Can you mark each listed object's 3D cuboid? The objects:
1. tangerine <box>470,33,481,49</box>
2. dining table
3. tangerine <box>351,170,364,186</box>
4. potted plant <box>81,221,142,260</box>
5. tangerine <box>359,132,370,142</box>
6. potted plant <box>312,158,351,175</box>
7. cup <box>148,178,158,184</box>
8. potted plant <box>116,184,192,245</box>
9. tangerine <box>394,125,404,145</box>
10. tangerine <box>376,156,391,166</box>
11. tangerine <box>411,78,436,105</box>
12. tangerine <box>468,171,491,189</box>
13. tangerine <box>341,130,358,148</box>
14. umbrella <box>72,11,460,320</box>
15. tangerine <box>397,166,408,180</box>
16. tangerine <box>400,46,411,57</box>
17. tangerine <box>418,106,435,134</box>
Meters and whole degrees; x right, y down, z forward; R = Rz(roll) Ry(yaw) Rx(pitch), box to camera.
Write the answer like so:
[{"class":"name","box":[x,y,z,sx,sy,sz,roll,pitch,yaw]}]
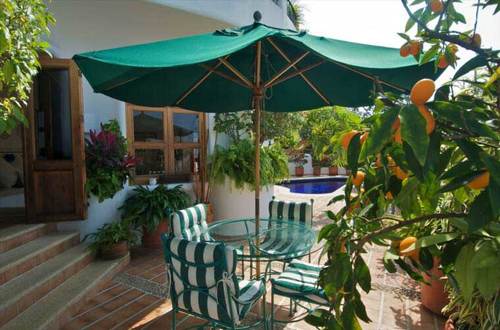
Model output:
[{"class":"tangerine","box":[1.056,-0.585,1.684,0.047,0.074,0.075,2,3,39]},{"class":"dining table","box":[0.084,0.816,3.691,0.818,0.531,0.762,-15,-22,21]},{"class":"tangerine","box":[0.504,0.062,1.696,0.051,0.064,0.050,18,21,39]},{"class":"potted plant","box":[-1.916,1.018,4.865,0.515,0.360,0.507,3,-1,-6]},{"class":"tangerine","box":[0.511,-0.121,1.599,0.026,0.049,0.039,3,-3,31]},{"class":"potted plant","box":[2.497,0.068,11.691,1.146,0.452,0.733,1,-2,9]},{"class":"cup","box":[-1.609,0.251,5.942,0.112,0.084,0.114,2,6,0]},{"class":"potted plant","box":[-1.412,0.838,5.728,1.066,0.925,1.129,9,-7,-43]},{"class":"tangerine","box":[0.637,-0.130,1.543,0.030,0.071,0.107,2,2,22]},{"class":"tangerine","box":[0.622,-0.016,1.679,0.048,0.030,0.049,-9,-9,-20]},{"class":"tangerine","box":[0.763,-0.332,1.562,0.110,0.089,0.082,4,13,-18]},{"class":"tangerine","box":[0.967,0.067,1.513,0.036,0.050,0.099,2,-33,-48]},{"class":"tangerine","box":[0.465,-0.122,1.673,0.071,0.086,0.121,1,2,-2]},{"class":"umbrella","box":[0.014,-0.086,3.608,2.525,1.942,2.552,0,3,-3]},{"class":"tangerine","box":[0.695,0.037,1.641,0.055,0.064,0.103,1,2,18]},{"class":"tangerine","box":[0.755,-0.560,1.750,0.056,0.046,0.044,-15,0,-28]},{"class":"tangerine","box":[0.761,-0.196,1.537,0.102,0.122,0.051,-1,3,-39]}]
